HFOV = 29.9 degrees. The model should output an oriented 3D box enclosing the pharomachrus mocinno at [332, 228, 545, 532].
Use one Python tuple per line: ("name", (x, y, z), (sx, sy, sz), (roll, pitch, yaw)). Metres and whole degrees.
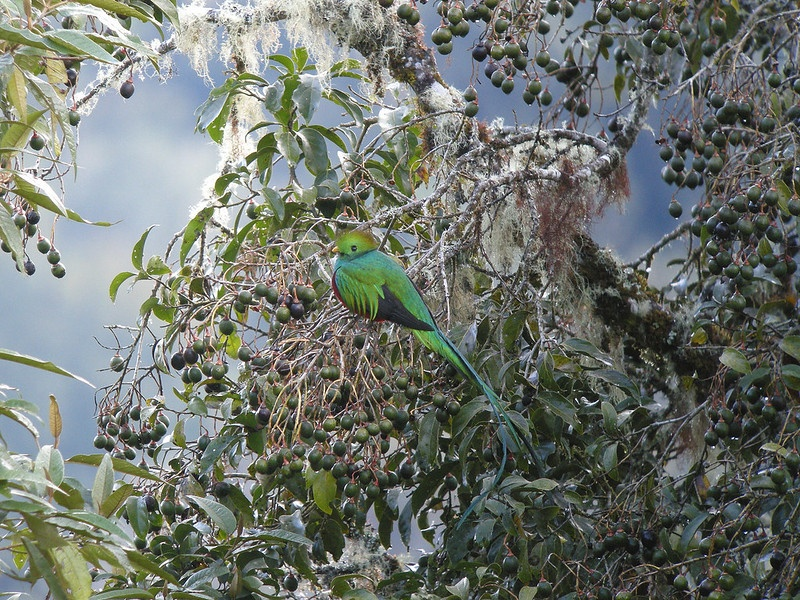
("pharomachrus mocinno", (0.017, 0.192, 5.909), (1.190, 0.534, 0.446), (38, 9, 32))
